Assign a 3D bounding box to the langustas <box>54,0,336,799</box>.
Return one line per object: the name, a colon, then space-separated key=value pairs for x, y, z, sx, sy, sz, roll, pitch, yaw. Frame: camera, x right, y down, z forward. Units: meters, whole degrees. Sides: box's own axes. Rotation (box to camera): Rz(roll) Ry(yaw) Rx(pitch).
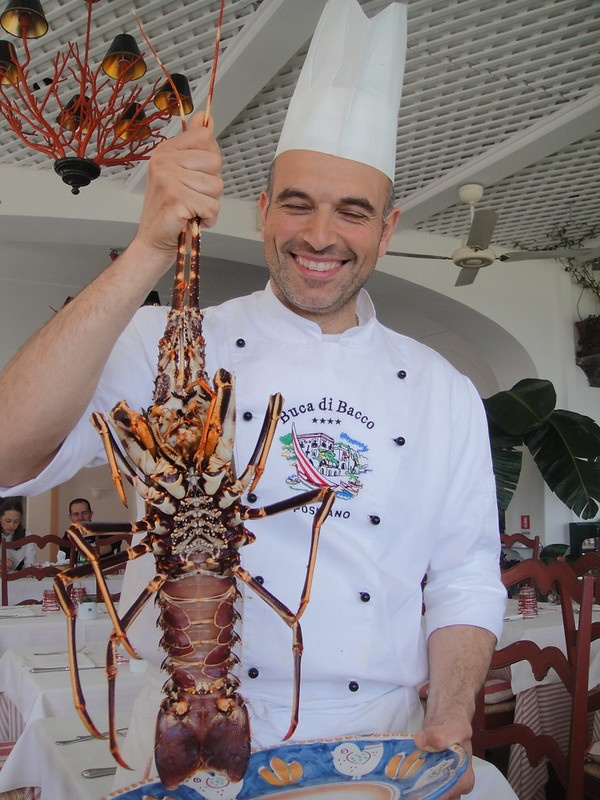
langustas: x=-0.134 y=0.101 z=0.887 sx=0.428 sy=0.971 sz=0.217 roll=-1 pitch=-2 yaw=-8
